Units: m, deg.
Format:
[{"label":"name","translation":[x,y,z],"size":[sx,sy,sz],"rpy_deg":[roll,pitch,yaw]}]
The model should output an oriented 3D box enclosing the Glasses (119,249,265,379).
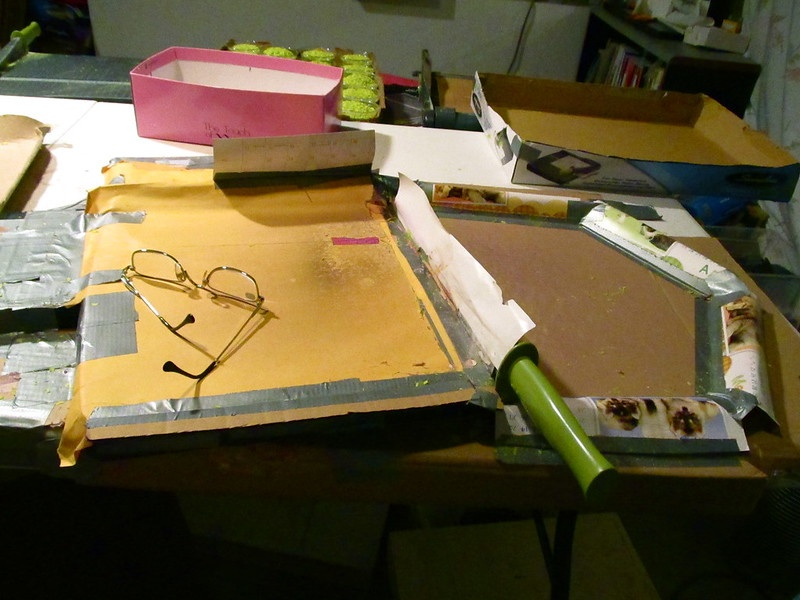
[{"label":"Glasses","translation":[-0.335,-0.008,1.003],"size":[0.230,0.066,0.207],"rpy_deg":[18,56,1]}]
